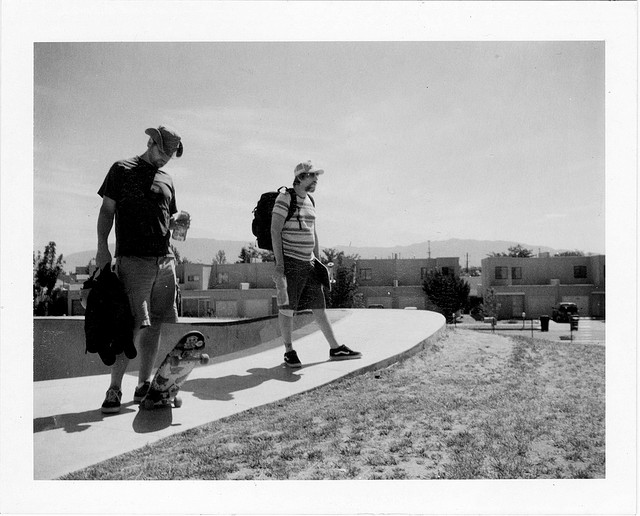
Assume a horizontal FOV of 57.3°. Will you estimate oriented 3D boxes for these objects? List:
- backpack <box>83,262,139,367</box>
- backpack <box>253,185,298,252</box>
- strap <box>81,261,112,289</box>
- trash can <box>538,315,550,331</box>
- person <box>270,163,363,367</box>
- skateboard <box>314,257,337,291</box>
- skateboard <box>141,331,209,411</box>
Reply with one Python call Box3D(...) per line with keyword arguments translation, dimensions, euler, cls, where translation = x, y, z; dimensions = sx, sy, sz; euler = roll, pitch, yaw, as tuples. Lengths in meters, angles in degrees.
Box3D(translation=(-1.486, 0.394, 4.126), dimensions=(0.353, 0.749, 0.170), euler=(0, 0, -16), cls="backpack")
Box3D(translation=(-0.398, -0.279, 5.031), dimensions=(0.366, 0.571, 0.416), euler=(-3, -16, 17), cls="backpack")
Box3D(translation=(-1.659, 0.126, 4.327), dimensions=(0.088, 0.231, 0.061), euler=(40, -5, -11), cls="strap")
Box3D(translation=(2.141, 0.617, 5.521), dimensions=(0.099, 0.169, 0.107), euler=(2, 6, 14), cls="trash can")
Box3D(translation=(-0.112, 0.061, 4.968), dimensions=(0.655, 1.514, 0.322), euler=(-1, 0, -42), cls="person")
Box3D(translation=(0.048, 0.160, 5.167), dimensions=(0.282, 0.177, 0.082), euler=(49, -4, -25), cls="skateboard")
Box3D(translation=(-1.011, 0.799, 4.092), dimensions=(0.290, 0.147, 0.833), euler=(21, -58, -22), cls="skateboard")
